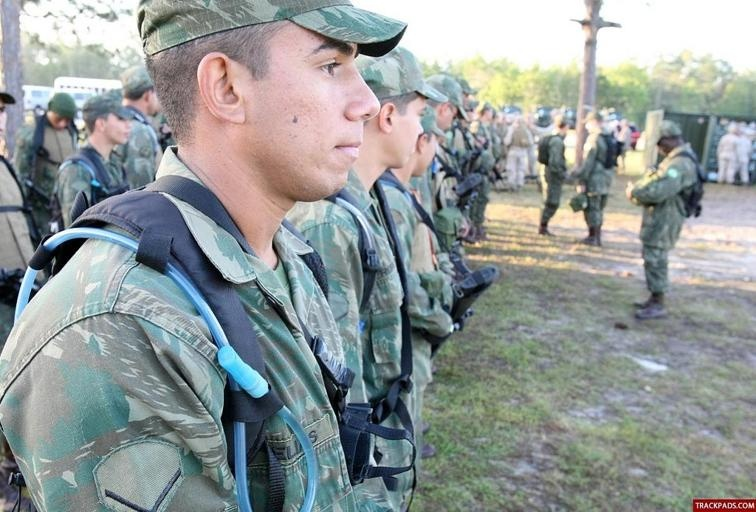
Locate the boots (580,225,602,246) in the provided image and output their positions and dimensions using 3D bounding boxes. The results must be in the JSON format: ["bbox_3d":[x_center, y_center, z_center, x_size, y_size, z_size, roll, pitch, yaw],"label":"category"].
[{"bbox_3d":[3.986,-0.406,11.114,0.451,0.478,0.221,11,17,33],"label":"boots"}]

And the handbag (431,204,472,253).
[{"bbox_3d":[0.635,-0.263,5.381,0.334,0.499,0.179,-10,23,-33],"label":"handbag"}]

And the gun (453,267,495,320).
[{"bbox_3d":[0.605,0.203,3.866,0.374,0.155,0.213,-41,-31,26],"label":"gun"}]

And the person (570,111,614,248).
[{"bbox_3d":[3.873,-1.423,10.796,0.665,2.449,0.693,7,11,21],"label":"person"}]

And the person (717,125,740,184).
[{"bbox_3d":[11.104,-3.394,19.098,0.612,1.964,0.582,10,12,33],"label":"person"}]

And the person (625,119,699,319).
[{"bbox_3d":[3.422,-0.447,7.288,0.847,2.435,0.526,-1,11,-23],"label":"person"}]

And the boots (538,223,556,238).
[{"bbox_3d":[3.402,-0.552,12.161,0.263,0.269,0.133,-20,52,-2],"label":"boots"}]

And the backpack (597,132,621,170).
[{"bbox_3d":[4.110,-1.935,10.643,0.290,0.632,0.645,9,12,31],"label":"backpack"}]

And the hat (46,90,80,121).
[{"bbox_3d":[-2.946,-1.453,5.647,0.215,0.304,0.214,-3,-7,-40],"label":"hat"}]

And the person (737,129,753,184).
[{"bbox_3d":[11.477,-3.265,18.876,0.426,1.823,0.675,11,13,37],"label":"person"}]

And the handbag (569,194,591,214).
[{"bbox_3d":[3.655,-1.016,10.897,0.253,0.371,0.348,-9,-24,32],"label":"handbag"}]

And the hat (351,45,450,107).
[{"bbox_3d":[0.121,-1.031,3.293,0.481,0.283,0.365,-6,24,-9],"label":"hat"}]
